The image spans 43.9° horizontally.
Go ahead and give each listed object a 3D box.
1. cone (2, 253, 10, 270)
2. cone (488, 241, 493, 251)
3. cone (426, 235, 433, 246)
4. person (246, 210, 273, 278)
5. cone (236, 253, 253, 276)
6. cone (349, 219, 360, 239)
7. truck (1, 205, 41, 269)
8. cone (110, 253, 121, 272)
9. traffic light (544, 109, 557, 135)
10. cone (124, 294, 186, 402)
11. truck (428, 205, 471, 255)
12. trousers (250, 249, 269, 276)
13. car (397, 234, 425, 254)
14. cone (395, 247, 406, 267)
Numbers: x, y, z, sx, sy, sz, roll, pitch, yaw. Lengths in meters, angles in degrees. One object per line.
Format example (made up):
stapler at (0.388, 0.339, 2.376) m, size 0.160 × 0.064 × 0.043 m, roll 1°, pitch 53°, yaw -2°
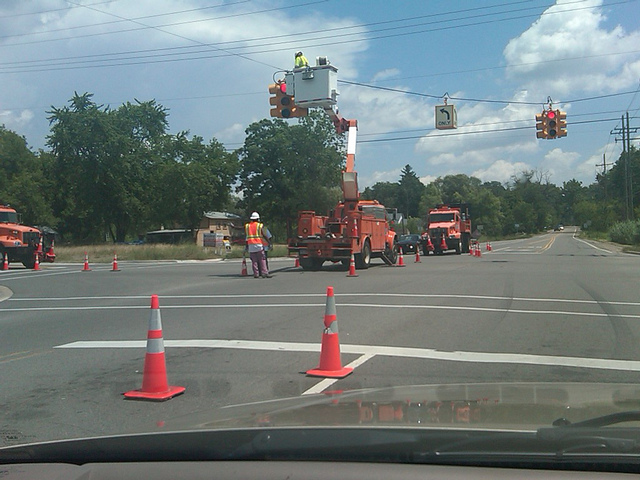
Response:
cone at (-11.681, 0.793, 29.389) m, size 0.173 × 0.606 × 0.383 m, roll -2°, pitch 1°, yaw -23°
cone at (11.599, 0.414, 54.238) m, size 0.502 × 0.750 × 0.528 m, roll -2°, pitch -2°, yaw 1°
cone at (5.390, 0.032, 39.200) m, size 0.216 × 0.491 × 0.269 m, roll 0°, pitch 1°, yaw 27°
person at (-1.767, 0.293, 22.516) m, size 0.619 × 1.587 × 0.989 m, roll -1°, pitch 1°, yaw -5°
cone at (-2.280, 0.758, 23.922) m, size 0.539 × 0.776 × 0.571 m, roll 0°, pitch -7°, yaw 3°
cone at (1.294, -0.324, 24.954) m, size 0.381 × 0.782 × 0.419 m, roll -1°, pitch -7°, yaw 25°
truck at (-11.342, -0.078, 29.973) m, size 1.165 × 2.367 × 1.590 m, roll -1°, pitch 1°, yaw 1°
cone at (-8.418, 0.933, 32.606) m, size 0.520 × 0.766 × 0.552 m, roll -1°, pitch -3°, yaw 12°
traffic light at (9.151, -4.703, 31.427) m, size 0.431 × 1.010 × 0.602 m, roll -1°, pitch 1°, yaw -6°
cone at (-1.947, 1.260, 9.304) m, size 0.668 × 1.187 × 0.476 m, roll -1°, pitch 1°, yaw 4°
truck at (6.609, -0.372, 40.519) m, size 1.366 × 1.826 × 3.641 m, roll -2°, pitch -5°, yaw 17°
trousers at (-1.755, 0.652, 22.768) m, size 0.435 × 0.772 × 0.666 m, roll -1°, pitch 1°, yaw -4°
car at (4.903, 0.087, 42.993) m, size 1.015 × 0.853 × 2.400 m, roll -3°, pitch -7°, yaw 18°
cone at (2.783, 0.590, 27.441) m, size 0.530 × 0.660 × 0.561 m, roll 0°, pitch -4°, yaw 2°
